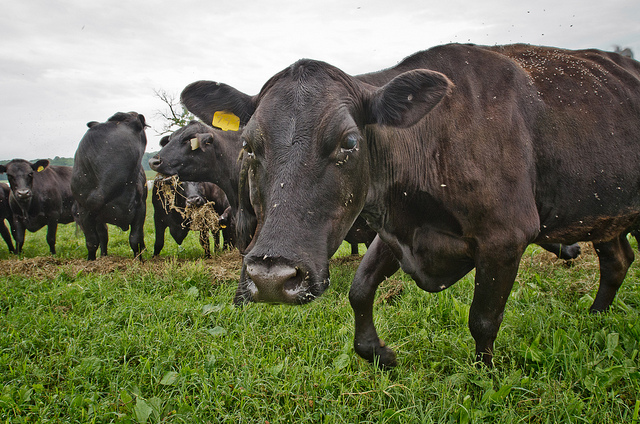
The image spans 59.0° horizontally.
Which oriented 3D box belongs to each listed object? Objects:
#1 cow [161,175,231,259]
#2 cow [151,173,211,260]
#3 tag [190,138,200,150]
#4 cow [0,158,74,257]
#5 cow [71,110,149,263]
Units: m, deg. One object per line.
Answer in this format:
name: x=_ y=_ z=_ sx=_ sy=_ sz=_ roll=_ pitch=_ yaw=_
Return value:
cow: x=-2.254 y=-0.022 z=12.239 sx=1.079 sy=1.768 sz=3.499 roll=-9 pitch=3 yaw=1
cow: x=-2.947 y=0.111 z=11.780 sx=1.018 sy=1.709 sz=2.921 roll=2 pitch=-2 yaw=-23
tag: x=-2.082 y=-1.130 z=9.478 sx=0.169 sy=0.141 sz=0.129 roll=15 pitch=-30 yaw=-7
cow: x=-6.686 y=-0.161 z=13.585 sx=1.280 sy=2.285 sz=2.623 roll=-8 pitch=12 yaw=-19
cow: x=-3.771 y=-0.433 z=10.389 sx=1.351 sy=2.675 sz=0.857 roll=-12 pitch=14 yaw=-33
